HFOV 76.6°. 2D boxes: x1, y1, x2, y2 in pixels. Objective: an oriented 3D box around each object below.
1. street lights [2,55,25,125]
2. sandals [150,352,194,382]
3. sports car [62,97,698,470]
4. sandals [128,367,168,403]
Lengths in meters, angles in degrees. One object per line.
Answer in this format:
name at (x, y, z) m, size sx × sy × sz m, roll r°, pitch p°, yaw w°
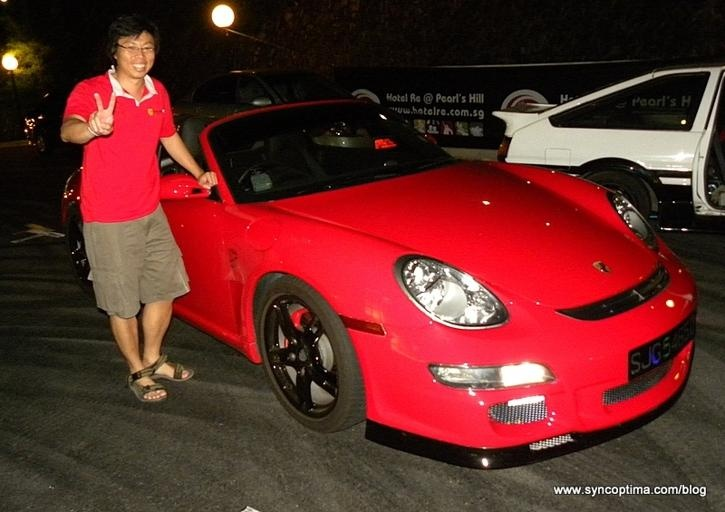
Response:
street lights at (-15.802, -7.513, 20.808) m, size 0.815 × 0.712 × 4.450 m, roll -17°, pitch 3°, yaw -38°
sandals at (-1.471, 0.847, 3.484) m, size 0.403 × 0.139 × 0.145 m, roll 5°, pitch 33°, yaw 7°
sports car at (-0.277, -0.467, 4.150) m, size 2.734 × 1.525 × 5.368 m, roll -21°, pitch 29°, yaw -38°
sandals at (-1.565, 0.907, 3.346) m, size 0.158 × 0.123 × 0.390 m, roll -16°, pitch 22°, yaw -38°
